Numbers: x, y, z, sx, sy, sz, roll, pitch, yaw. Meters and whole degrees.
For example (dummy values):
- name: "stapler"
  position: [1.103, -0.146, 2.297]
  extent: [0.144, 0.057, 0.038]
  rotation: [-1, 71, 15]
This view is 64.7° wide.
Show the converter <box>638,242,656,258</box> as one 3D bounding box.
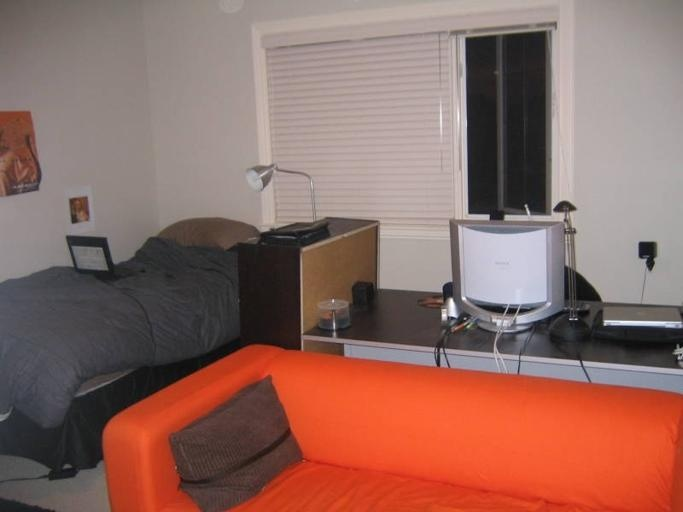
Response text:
- name: "converter"
  position: [2.219, -0.048, 3.911]
  extent: [0.122, 0.119, 0.086]
  rotation: [3, 11, 27]

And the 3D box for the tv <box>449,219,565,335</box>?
- name: "tv"
  position: [0.797, 0.096, 2.663]
  extent: [0.560, 0.550, 0.314]
  rotation: [1, 10, 23]

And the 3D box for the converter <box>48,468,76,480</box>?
- name: "converter"
  position: [-1.586, 1.240, 3.067]
  extent: [0.143, 0.054, 0.078]
  rotation: [1, 2, -27]

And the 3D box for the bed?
- name: "bed"
  position: [-1.414, 0.504, 3.811]
  extent: [1.028, 0.807, 1.803]
  rotation: [6, 11, 26]

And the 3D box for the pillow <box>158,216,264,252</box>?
- name: "pillow"
  position: [-1.205, -0.182, 4.968]
  extent: [1.086, 0.316, 0.617]
  rotation: [2, -1, 31]
